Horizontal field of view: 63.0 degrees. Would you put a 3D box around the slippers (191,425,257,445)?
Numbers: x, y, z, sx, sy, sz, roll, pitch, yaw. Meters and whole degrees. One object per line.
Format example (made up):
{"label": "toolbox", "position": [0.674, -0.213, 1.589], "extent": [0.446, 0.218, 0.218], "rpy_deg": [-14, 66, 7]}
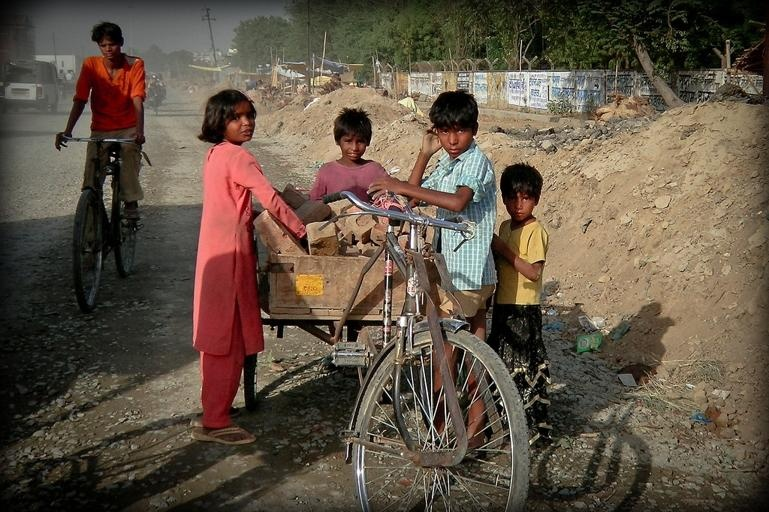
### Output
{"label": "slippers", "position": [-1.291, 1.436, 4.994], "extent": [0.406, 0.128, 0.192], "rpy_deg": [2, 0, -5]}

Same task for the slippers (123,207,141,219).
{"label": "slippers", "position": [-3.116, -0.547, 7.736], "extent": [0.185, 0.128, 0.097], "rpy_deg": [-2, 4, -24]}

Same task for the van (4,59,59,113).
{"label": "van", "position": [-15.437, -7.548, 27.704], "extent": [1.452, 2.002, 2.441], "rpy_deg": [5, 9, 11]}
